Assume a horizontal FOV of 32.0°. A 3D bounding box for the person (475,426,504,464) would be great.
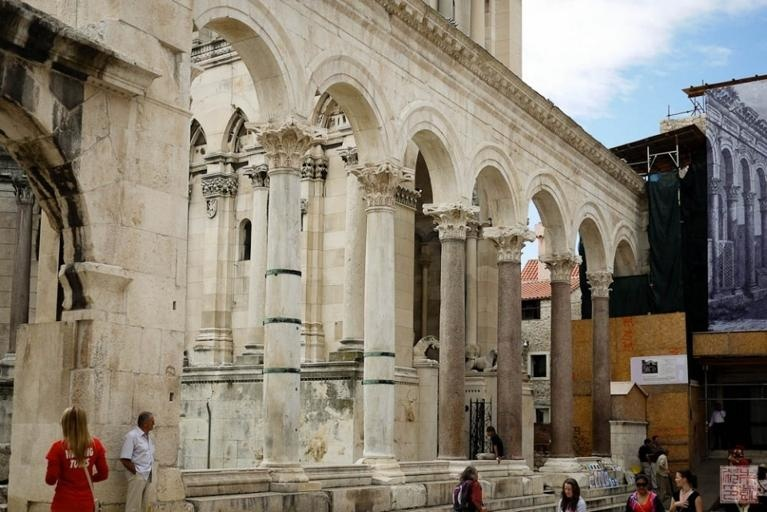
[{"bbox_3d":[2.969,5.044,36.393,0.757,0.932,0.657,2,-3,2],"label":"person"}]
